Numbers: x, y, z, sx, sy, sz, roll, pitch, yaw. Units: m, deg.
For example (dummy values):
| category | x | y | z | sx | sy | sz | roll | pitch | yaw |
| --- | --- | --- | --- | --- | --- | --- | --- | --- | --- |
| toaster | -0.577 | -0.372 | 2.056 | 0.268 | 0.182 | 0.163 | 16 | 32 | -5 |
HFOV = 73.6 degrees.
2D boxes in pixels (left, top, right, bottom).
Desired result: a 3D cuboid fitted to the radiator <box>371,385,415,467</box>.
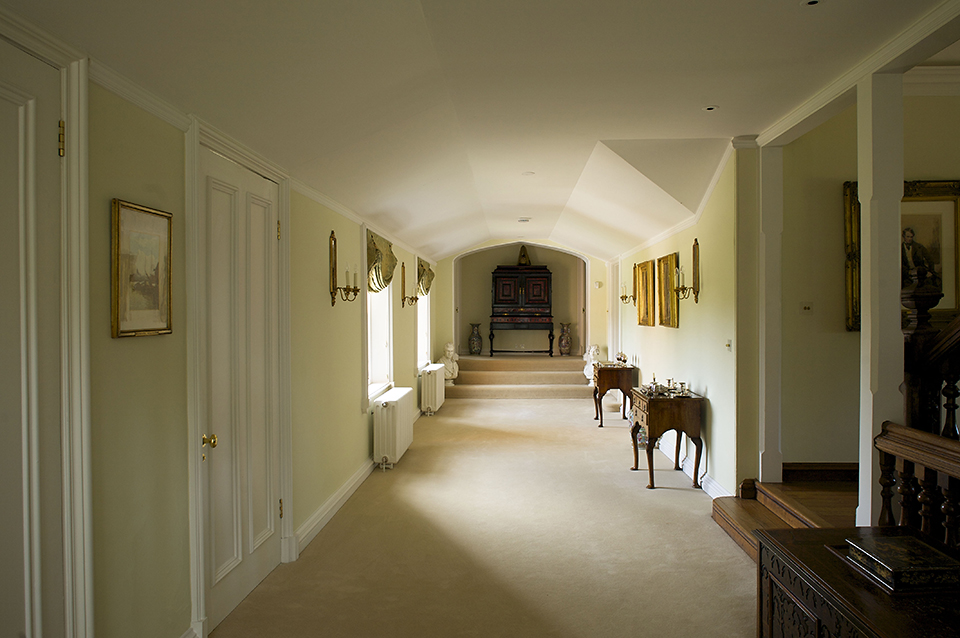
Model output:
| category | x | y | z | sx | sy | sz | roll | pitch | yaw |
| --- | --- | --- | --- | --- | --- | --- | --- | --- | --- |
| radiator | -1.003 | 1.227 | 7.279 | 0.313 | 0.777 | 0.700 | 1 | 5 | 15 |

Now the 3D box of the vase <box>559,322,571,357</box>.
| category | x | y | z | sx | sy | sz | roll | pitch | yaw |
| --- | --- | --- | --- | --- | --- | --- | --- | --- | --- |
| vase | 1.843 | 0.421 | 13.855 | 0.267 | 0.656 | 0.318 | 1 | 5 | 7 |

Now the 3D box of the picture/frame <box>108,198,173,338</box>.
| category | x | y | z | sx | sy | sz | roll | pitch | yaw |
| --- | --- | --- | --- | --- | --- | --- | --- | --- | --- |
| picture/frame | -1.863 | -0.274 | 3.518 | 0.066 | 0.726 | 0.407 | 2 | 5 | 18 |

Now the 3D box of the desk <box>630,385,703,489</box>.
| category | x | y | z | sx | sy | sz | roll | pitch | yaw |
| --- | --- | --- | --- | --- | --- | --- | --- | --- | --- |
| desk | 1.947 | 1.204 | 6.668 | 0.659 | 0.958 | 0.718 | 1 | 5 | 7 |

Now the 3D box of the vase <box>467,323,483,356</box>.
| category | x | y | z | sx | sy | sz | roll | pitch | yaw |
| --- | --- | --- | --- | --- | --- | --- | --- | --- | --- |
| vase | -0.103 | 0.423 | 13.894 | 0.305 | 0.664 | 0.279 | 0 | 5 | 0 |

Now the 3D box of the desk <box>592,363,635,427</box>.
| category | x | y | z | sx | sy | sz | roll | pitch | yaw |
| --- | --- | --- | --- | --- | --- | --- | --- | --- | --- |
| desk | 2.015 | 1.008 | 9.732 | 0.628 | 0.987 | 0.950 | 0 | 4 | 4 |

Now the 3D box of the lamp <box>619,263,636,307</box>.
| category | x | y | z | sx | sy | sz | roll | pitch | yaw |
| --- | --- | --- | --- | --- | --- | --- | --- | --- | --- |
| lamp | 2.317 | -0.513 | 10.051 | 0.195 | 0.669 | 1.061 | 1 | 5 | 12 |
